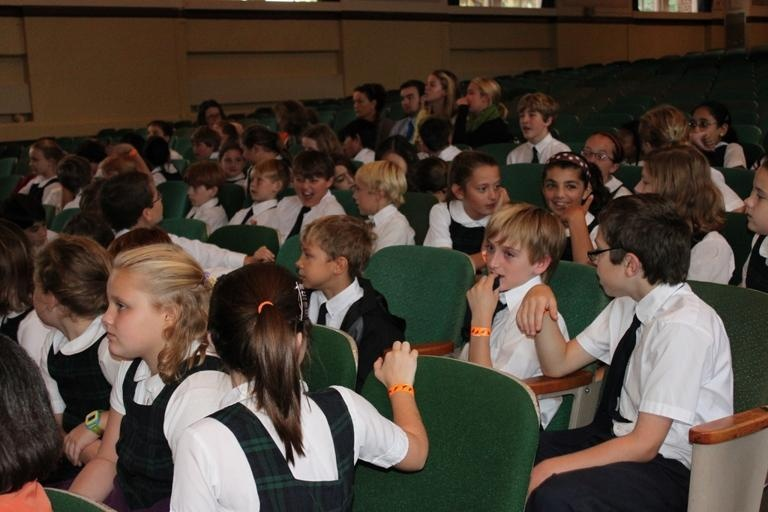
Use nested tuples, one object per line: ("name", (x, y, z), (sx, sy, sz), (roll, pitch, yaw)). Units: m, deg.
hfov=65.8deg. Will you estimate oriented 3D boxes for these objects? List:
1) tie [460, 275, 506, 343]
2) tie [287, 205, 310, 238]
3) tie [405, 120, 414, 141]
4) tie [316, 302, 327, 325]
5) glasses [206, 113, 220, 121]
("tie", (0.453, 0.252, 2.782), (0.103, 0.289, 0.218), (11, 5, 21))
("tie", (-0.578, -0.236, 4.010), (0.051, 0.338, 0.039), (21, -6, 2))
("tie", (0.284, -1.375, 6.402), (0.111, 0.226, 0.055), (0, -16, 8))
("tie", (-0.286, 0.272, 2.782), (0.027, 0.137, 0.036), (7, -6, 15))
("glasses", (-2.609, -2.127, 8.993), (0.165, 0.188, 0.053), (-2, 2, 2))
